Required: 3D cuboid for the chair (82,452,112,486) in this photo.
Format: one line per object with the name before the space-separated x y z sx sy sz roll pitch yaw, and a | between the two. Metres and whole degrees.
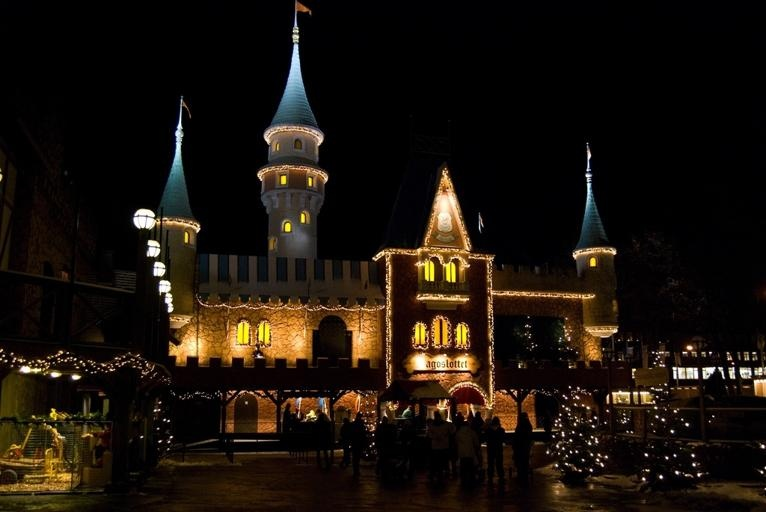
chair | -9.505 7.030 31.006 0.905 0.941 0.928 -2 -3 17
